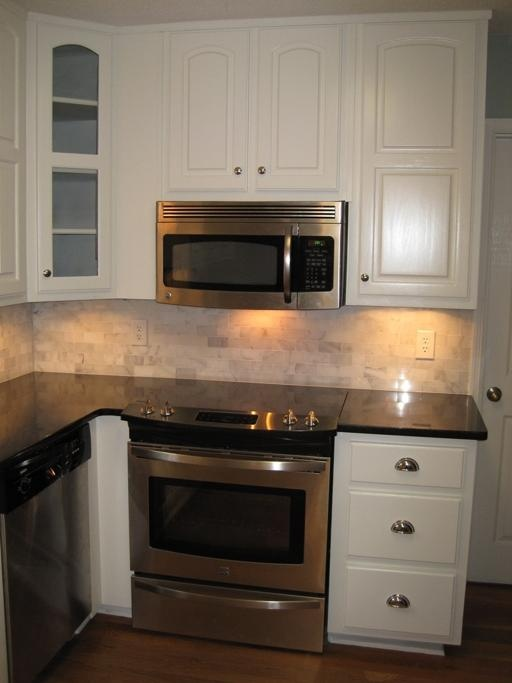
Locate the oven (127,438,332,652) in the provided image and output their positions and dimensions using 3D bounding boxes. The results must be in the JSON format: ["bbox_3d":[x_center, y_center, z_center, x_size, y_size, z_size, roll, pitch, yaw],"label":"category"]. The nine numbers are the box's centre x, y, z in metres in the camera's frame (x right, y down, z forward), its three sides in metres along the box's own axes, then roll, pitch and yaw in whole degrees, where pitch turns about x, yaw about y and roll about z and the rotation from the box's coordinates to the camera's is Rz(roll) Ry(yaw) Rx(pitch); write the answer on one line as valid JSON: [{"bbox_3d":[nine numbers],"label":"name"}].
[{"bbox_3d":[-0.064,0.660,2.161,0.703,0.761,0.541,3,10,12],"label":"oven"}]
